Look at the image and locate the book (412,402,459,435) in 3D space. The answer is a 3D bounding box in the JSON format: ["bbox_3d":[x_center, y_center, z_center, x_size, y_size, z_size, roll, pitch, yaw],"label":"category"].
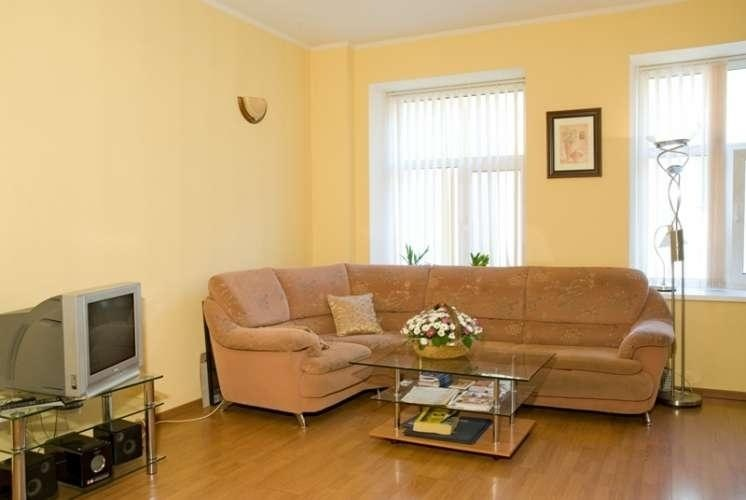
[{"bbox_3d":[0.470,1.289,4.242,0.266,0.079,0.269,-1,9,15],"label":"book"}]

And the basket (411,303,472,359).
[{"bbox_3d":[0.541,0.624,4.370,0.444,0.262,0.430,0,-4,1],"label":"basket"}]

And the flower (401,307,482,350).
[{"bbox_3d":[0.547,0.598,4.341,0.410,0.194,0.392,1,-5,-10],"label":"flower"}]

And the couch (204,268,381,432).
[{"bbox_3d":[-0.679,0.749,5.132,1.325,1.151,1.461,1,2,28],"label":"couch"}]

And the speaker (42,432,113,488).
[{"bbox_3d":[-1.894,1.403,3.757,0.439,0.293,0.251,2,2,21],"label":"speaker"}]

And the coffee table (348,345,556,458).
[{"bbox_3d":[0.627,1.100,4.195,1.362,0.616,0.743,0,3,27],"label":"coffee table"}]

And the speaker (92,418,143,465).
[{"bbox_3d":[-1.707,1.306,3.929,0.314,0.299,0.302,-2,-2,31],"label":"speaker"}]
